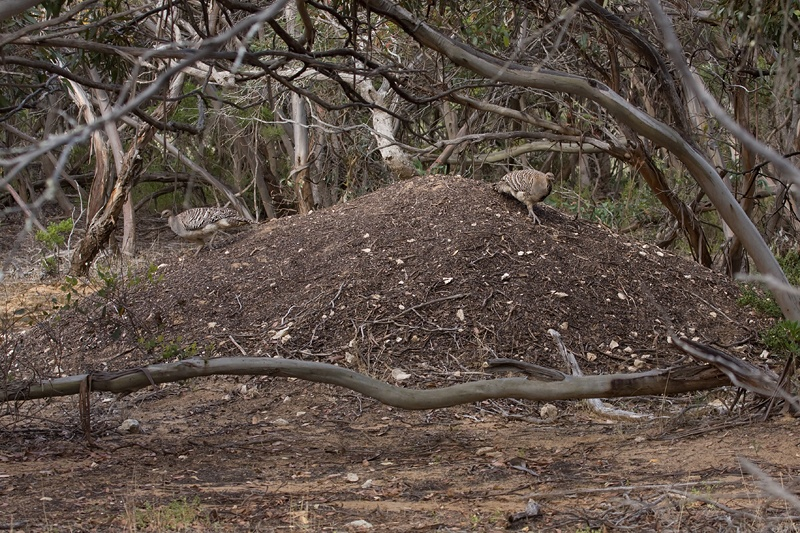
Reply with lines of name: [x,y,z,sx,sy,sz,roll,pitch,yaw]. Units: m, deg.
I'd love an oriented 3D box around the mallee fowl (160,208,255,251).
mallee fowl: [-2.797,-0.579,13.279,1.053,0.598,0.935,-8,15,-25]

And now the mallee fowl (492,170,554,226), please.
mallee fowl: [1.621,-0.928,12.040,0.310,0.702,1.064,-8,15,-25]
